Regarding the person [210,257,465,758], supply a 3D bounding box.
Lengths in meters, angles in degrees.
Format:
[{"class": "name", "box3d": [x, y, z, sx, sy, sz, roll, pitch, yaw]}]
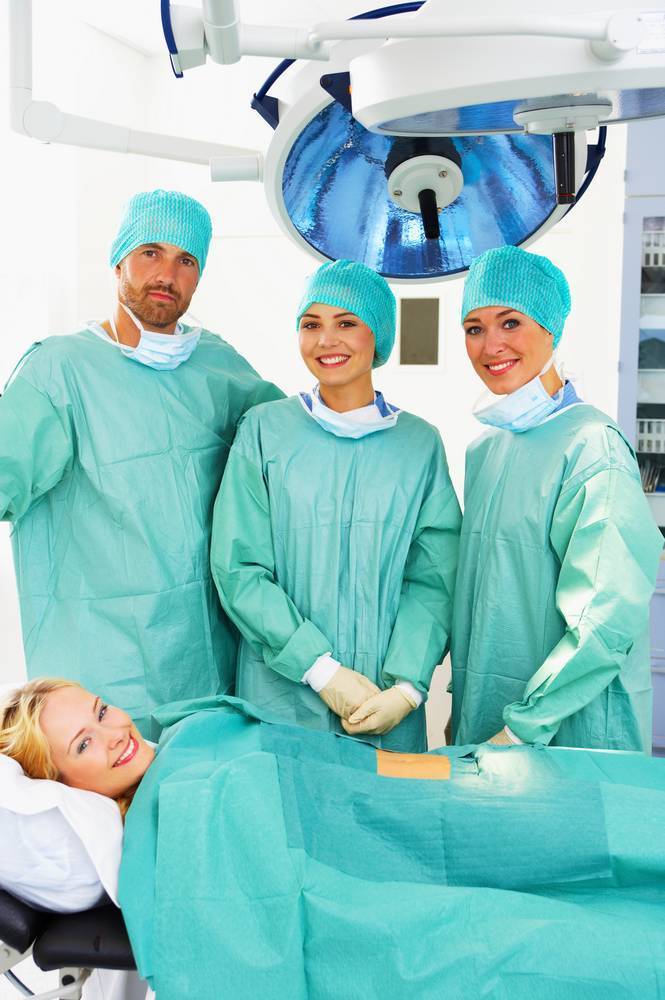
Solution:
[{"class": "person", "box3d": [-0.005, 0.031, 1.819, 0.434, 0.909, 0.387, -2, 12, -7]}]
